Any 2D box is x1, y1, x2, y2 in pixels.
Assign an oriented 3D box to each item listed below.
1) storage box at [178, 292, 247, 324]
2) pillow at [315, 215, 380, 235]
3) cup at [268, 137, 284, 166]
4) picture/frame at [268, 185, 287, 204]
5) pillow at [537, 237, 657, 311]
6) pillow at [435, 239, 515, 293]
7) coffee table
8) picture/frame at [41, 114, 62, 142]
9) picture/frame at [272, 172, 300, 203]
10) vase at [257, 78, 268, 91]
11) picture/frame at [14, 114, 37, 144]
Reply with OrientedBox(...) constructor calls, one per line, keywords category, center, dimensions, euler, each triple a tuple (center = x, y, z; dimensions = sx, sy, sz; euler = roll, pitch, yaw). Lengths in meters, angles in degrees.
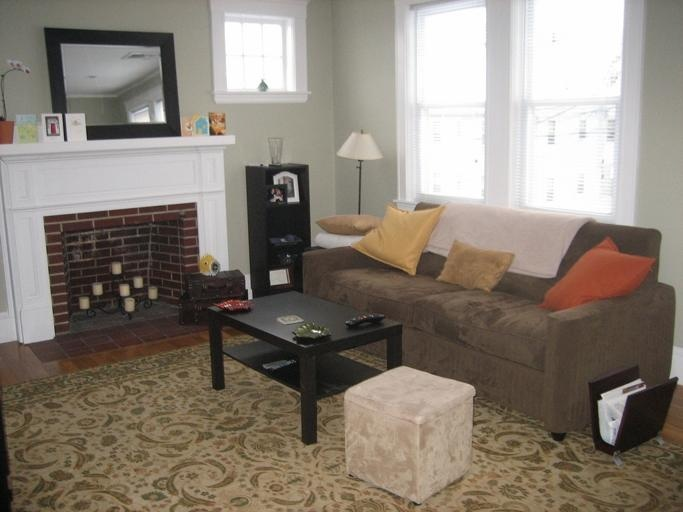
OrientedBox(category="storage box", center=(-1.275, 0.459, 4.926), dimensions=(0.421, 0.177, 0.301), euler=(-4, 7, -29))
OrientedBox(category="pillow", center=(0.090, -0.289, 5.008), dimensions=(0.280, 0.103, 0.320), euler=(-13, 8, -36))
OrientedBox(category="cup", center=(-0.678, -1.076, 5.696), dimensions=(0.144, 0.270, 0.355), euler=(-5, 14, -8))
OrientedBox(category="picture/frame", center=(-0.641, -0.606, 5.575), dimensions=(0.193, 0.174, 0.192), euler=(2, 3, -10))
OrientedBox(category="pillow", center=(1.557, 0.168, 3.407), dimensions=(0.461, 0.370, 0.386), euler=(-6, 14, -16))
OrientedBox(category="pillow", center=(0.972, 0.089, 4.016), dimensions=(0.155, 0.316, 0.526), euler=(31, -9, -34))
OrientedBox(category="coffee table", center=(-0.117, 0.815, 3.519), dimensions=(0.793, 0.567, 1.187), euler=(-6, 10, -40))
OrientedBox(category="picture/frame", center=(-2.377, -1.047, 4.553), dimensions=(0.166, 0.222, 0.126), euler=(-9, 16, -24))
OrientedBox(category="picture/frame", center=(-0.579, -0.691, 5.611), dimensions=(0.323, 0.419, 0.035), euler=(-4, 6, -26))
OrientedBox(category="vase", center=(-0.805, -1.742, 5.696), dimensions=(0.129, 0.163, 0.120), euler=(0, 2, -1))
OrientedBox(category="picture/frame", center=(-2.576, -1.035, 4.517), dimensions=(0.204, 0.237, 0.313), euler=(-9, 15, -26))
